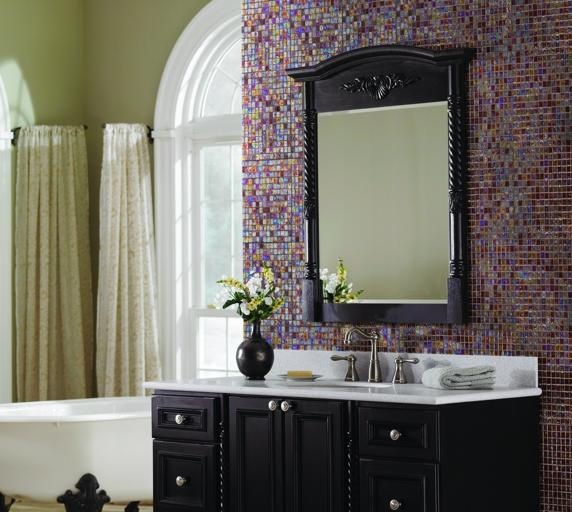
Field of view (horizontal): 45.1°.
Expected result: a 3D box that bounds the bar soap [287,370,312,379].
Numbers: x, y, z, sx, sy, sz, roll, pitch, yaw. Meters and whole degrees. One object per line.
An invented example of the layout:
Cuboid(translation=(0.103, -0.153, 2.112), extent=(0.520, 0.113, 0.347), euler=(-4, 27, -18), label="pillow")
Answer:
Cuboid(translation=(0.065, 0.562, 3.236), extent=(0.117, 0.032, 0.097), euler=(-2, -4, -1), label="bar soap")

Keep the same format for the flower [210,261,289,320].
Cuboid(translation=(-0.168, 0.187, 3.477), extent=(0.325, 0.288, 0.298), euler=(-1, -3, -6), label="flower")

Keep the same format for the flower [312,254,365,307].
Cuboid(translation=(0.251, 0.119, 3.371), extent=(0.172, 0.222, 0.190), euler=(-4, -3, 31), label="flower")

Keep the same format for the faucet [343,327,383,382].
Cuboid(translation=(0.366, 0.470, 3.291), extent=(0.176, 0.257, 0.222), euler=(-2, -3, 5), label="faucet")

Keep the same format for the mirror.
Cuboid(translation=(0.512, -0.342, 3.325), extent=(1.108, 1.866, 0.175), euler=(-1, -3, 30), label="mirror")

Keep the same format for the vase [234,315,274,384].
Cuboid(translation=(-0.150, 0.454, 3.347), extent=(0.172, 0.291, 0.155), euler=(1, -4, -39), label="vase")
